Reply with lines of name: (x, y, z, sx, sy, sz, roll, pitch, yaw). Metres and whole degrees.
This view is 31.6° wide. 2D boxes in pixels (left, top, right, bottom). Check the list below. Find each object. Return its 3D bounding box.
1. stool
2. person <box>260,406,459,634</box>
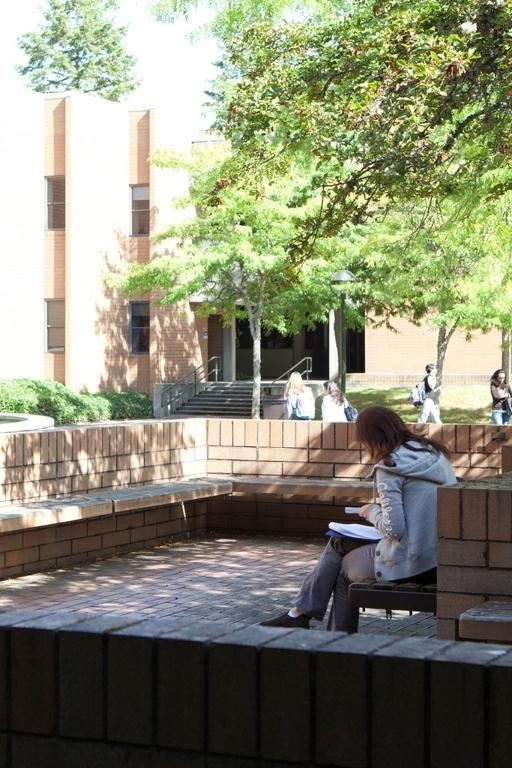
stool: (0.631, 0.975, 4.154, 0.440, 0.131, 0.138, 0, -1, 28)
person: (0.579, 0.699, 4.501, 0.459, 1.164, 0.773, 0, -1, -36)
